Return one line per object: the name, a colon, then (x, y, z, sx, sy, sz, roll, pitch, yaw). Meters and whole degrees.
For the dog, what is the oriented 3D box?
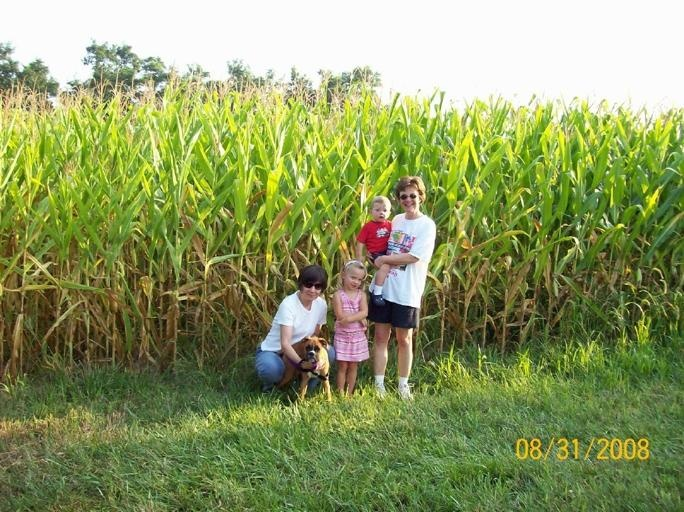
dog: (-0.267, 0.879, 5.073, 0.382, 0.465, 0.580, 4, 0, -17)

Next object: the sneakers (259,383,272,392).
sneakers: (-0.628, 1.078, 5.250, 0.116, 0.077, 0.098, 2, -15, 8)

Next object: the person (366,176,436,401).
person: (0.468, 0.243, 5.148, 0.475, 1.714, 0.321, 4, 1, 3)

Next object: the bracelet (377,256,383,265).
bracelet: (0.302, 0.040, 5.112, 0.019, 0.064, 0.044, 2, -3, -10)

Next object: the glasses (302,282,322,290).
glasses: (-0.231, 0.234, 5.006, 0.148, 0.045, 0.029, 5, 0, -9)
